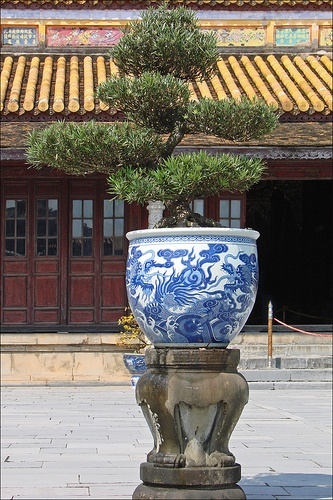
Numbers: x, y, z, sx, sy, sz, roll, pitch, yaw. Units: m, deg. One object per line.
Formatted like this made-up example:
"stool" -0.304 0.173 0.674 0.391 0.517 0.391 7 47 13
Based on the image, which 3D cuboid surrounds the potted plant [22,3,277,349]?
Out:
"potted plant" -0.050 -0.336 7.274 2.023 3.065 1.851 0 -6 -3
